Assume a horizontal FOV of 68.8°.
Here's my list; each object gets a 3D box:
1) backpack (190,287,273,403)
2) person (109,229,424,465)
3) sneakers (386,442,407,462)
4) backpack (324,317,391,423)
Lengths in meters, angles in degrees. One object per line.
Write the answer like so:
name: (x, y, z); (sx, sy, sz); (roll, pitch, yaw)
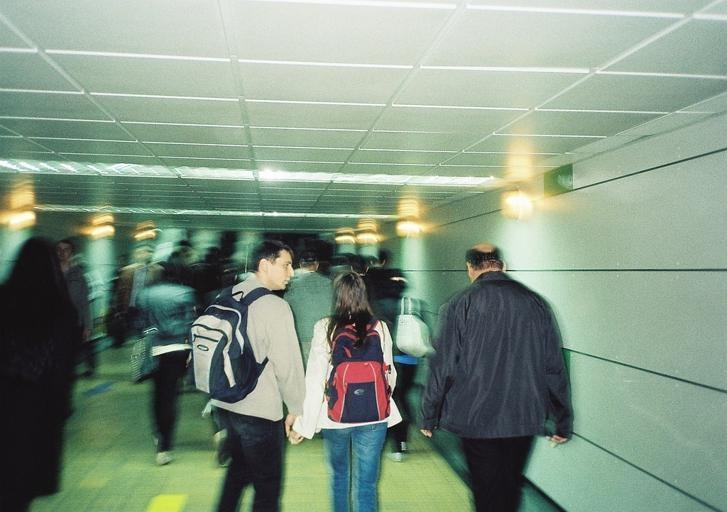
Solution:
backpack: (-0.900, 0.594, 3.579); (0.534, 0.754, 0.347); (2, 9, -2)
person: (-0.919, 0.891, 4.876); (2.971, 1.057, 0.824); (9, -21, 9)
sneakers: (0.367, 2.000, 5.457); (0.103, 0.099, 0.280); (1, -6, -7)
backpack: (-0.033, 0.822, 3.746); (0.421, 0.665, 0.251); (1, 9, -7)
